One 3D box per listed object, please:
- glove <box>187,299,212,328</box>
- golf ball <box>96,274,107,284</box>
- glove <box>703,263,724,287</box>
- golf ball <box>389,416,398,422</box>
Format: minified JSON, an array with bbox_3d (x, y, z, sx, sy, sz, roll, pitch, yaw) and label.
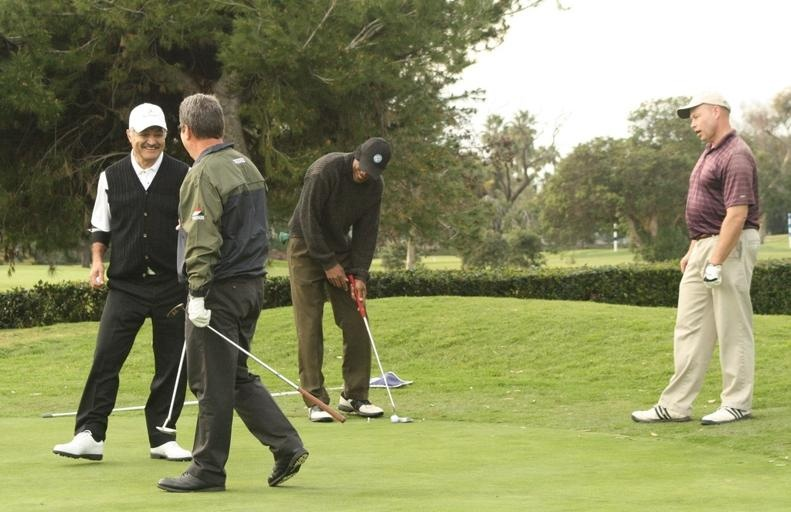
[{"bbox_3d":[-2.217,0.621,12.487,0.264,0.313,0.328,4,3,-5],"label":"glove"},{"bbox_3d":[-3.578,0.266,13.450,0.195,0.106,0.087,-6,3,25],"label":"golf ball"},{"bbox_3d":[4.030,0.243,14.106,0.223,0.321,0.174,3,12,14],"label":"glove"},{"bbox_3d":[-0.038,2.094,14.321,0.067,0.079,0.080,-1,-10,-8],"label":"golf ball"}]
